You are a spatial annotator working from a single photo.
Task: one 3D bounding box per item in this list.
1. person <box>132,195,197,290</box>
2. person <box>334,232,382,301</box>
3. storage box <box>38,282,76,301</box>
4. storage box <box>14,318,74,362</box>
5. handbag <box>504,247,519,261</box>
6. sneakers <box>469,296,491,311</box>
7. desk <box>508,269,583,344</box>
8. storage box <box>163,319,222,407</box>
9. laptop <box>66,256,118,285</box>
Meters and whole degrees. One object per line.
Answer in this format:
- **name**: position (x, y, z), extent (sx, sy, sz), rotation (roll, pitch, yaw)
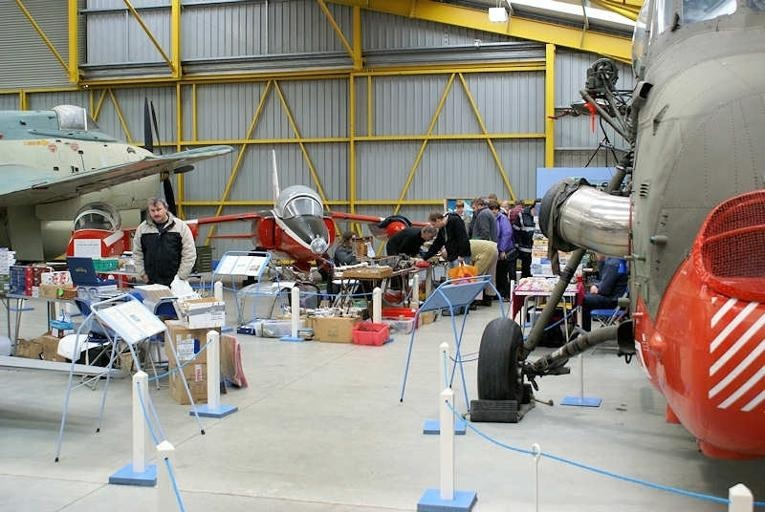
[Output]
- **person**: position (-3.024, -0.204, 11.808), extent (0.888, 1.201, 0.493), rotation (1, 5, 23)
- **person**: position (-0.543, 0.202, 15.215), extent (1.017, 1.167, 0.471), rotation (7, 12, 27)
- **storage box**: position (-4.154, 0.468, 11.087), extent (0.698, 0.196, 0.309), rotation (4, 8, 43)
- **storage box**: position (-4.537, 1.181, 11.469), extent (0.588, 0.245, 0.647), rotation (3, 3, 16)
- **handbag**: position (2.406, -0.030, 16.149), extent (0.186, 0.105, 0.264), rotation (-15, -28, -25)
- **sneakers**: position (1.858, 0.876, 16.346), extent (0.181, 0.276, 0.590), rotation (-1, -4, 23)
- **desk**: position (2.386, 0.679, 12.339), extent (0.954, 0.727, 1.326), rotation (2, 8, 21)
- **storage box**: position (-2.320, 1.280, 10.241), extent (0.811, 0.924, 0.389), rotation (1, 5, 25)
- **laptop**: position (-3.717, 0.192, 10.934), extent (0.375, 0.424, 0.443), rotation (2, 1, 21)
